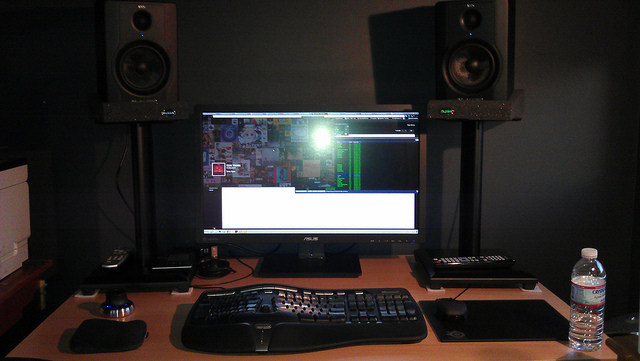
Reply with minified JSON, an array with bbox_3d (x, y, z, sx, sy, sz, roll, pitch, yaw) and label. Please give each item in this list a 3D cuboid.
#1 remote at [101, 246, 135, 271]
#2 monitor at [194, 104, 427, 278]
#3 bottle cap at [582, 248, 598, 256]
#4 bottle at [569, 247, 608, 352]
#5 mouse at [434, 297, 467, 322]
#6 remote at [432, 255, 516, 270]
[{"bbox_3d":[-0.986,0.381,2.432,0.104,0.101,0.155,1,-6,2],"label":"remote"},{"bbox_3d":[-0.050,-0.033,2.439,1.130,0.676,0.116,1,-7,0],"label":"monitor"},{"bbox_3d":[1.116,0.297,2.083,0.040,0.015,0.036,-1,4,-2],"label":"bottle cap"},{"bbox_3d":[1.141,0.495,2.148,0.139,0.406,0.275,-2,-7,26],"label":"bottle"},{"bbox_3d":[0.564,0.561,2.188,0.143,0.091,0.091,-1,-7,19],"label":"mouse"},{"bbox_3d":[0.719,0.386,2.378,0.251,0.028,0.132,-1,1,1],"label":"remote"}]
